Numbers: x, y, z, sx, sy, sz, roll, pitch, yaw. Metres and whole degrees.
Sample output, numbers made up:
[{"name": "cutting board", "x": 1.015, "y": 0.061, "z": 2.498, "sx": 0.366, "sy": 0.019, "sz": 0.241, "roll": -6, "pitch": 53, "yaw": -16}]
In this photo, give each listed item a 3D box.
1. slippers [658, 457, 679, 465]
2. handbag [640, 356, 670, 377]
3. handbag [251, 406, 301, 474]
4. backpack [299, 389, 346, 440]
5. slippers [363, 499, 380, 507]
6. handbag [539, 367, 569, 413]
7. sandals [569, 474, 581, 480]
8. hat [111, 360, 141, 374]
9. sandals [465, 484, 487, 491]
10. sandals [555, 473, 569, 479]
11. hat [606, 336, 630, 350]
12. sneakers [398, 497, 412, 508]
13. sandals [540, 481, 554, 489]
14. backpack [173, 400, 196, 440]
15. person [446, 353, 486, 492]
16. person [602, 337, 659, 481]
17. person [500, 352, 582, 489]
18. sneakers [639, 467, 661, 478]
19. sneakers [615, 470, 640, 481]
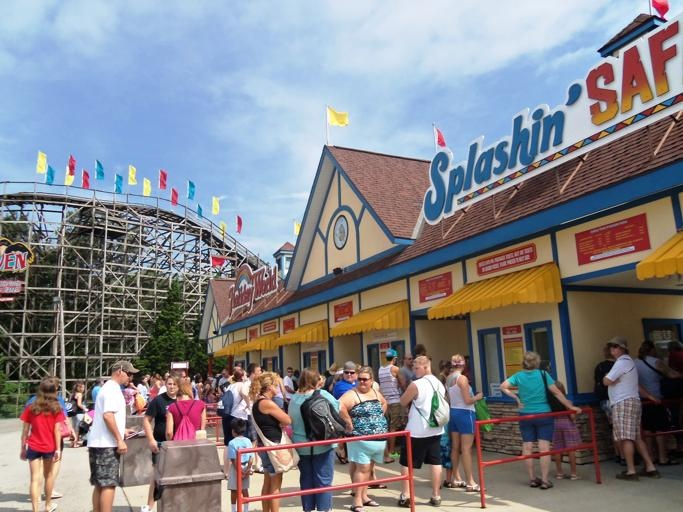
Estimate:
[{"name": "slippers", "x": 6.173, "y": 3.897, "z": 11.487, "sx": 0.412, "sy": 0.127, "sz": 0.148, "roll": 0, "pitch": -8, "yaw": -13}, {"name": "handbag", "x": 5.989, "y": 2.080, "z": 11.690, "sx": 0.353, "sy": 0.090, "sz": 0.331, "roll": 33, "pitch": 1, "yaw": -44}, {"name": "handbag", "x": -0.970, "y": 2.853, "z": 9.092, "sx": 0.630, "sy": 0.791, "sz": 0.634, "roll": -1, "pitch": -15, "yaw": -6}, {"name": "backpack", "x": -0.240, "y": 2.509, "z": 9.193, "sx": 0.481, "sy": 0.671, "sz": 0.365, "roll": -14, "pitch": -13, "yaw": -24}, {"name": "slippers", "x": 0.498, "y": 4.135, "z": 10.218, "sx": 0.112, "sy": 0.092, "sz": 0.307, "roll": 9, "pitch": -22, "yaw": -28}, {"name": "handbag", "x": 3.754, "y": 2.388, "z": 10.780, "sx": 0.361, "sy": 0.719, "sz": 0.249, "roll": -5, "pitch": -15, "yaw": 9}, {"name": "sandals", "x": 4.252, "y": 4.009, "z": 11.086, "sx": 0.208, "sy": 0.090, "sz": 0.075, "roll": 5, "pitch": -7, "yaw": -44}, {"name": "hat", "x": -3.541, "y": 1.827, "z": 10.004, "sx": 0.415, "sy": 0.225, "sz": 0.328, "roll": 3, "pitch": -6, "yaw": -22}, {"name": "sandals", "x": 2.334, "y": 4.107, "z": 10.790, "sx": 0.225, "sy": 0.122, "sz": 0.252, "roll": -8, "pitch": -17, "yaw": 19}, {"name": "sandals", "x": 4.050, "y": 4.044, "z": 11.205, "sx": 0.271, "sy": 0.111, "sz": 0.091, "roll": 2, "pitch": -5, "yaw": -30}, {"name": "hat", "x": 5.268, "y": 1.670, "z": 11.676, "sx": 0.409, "sy": 0.182, "sz": 0.362, "roll": 23, "pitch": -17, "yaw": -24}, {"name": "sneakers", "x": 1.029, "y": 4.111, "z": 10.129, "sx": 0.145, "sy": 0.176, "sz": 0.402, "roll": 10, "pitch": -29, "yaw": -21}, {"name": "sandals", "x": 3.595, "y": 4.011, "z": 10.694, "sx": 0.215, "sy": 0.141, "sz": 0.285, "roll": -8, "pitch": -16, "yaw": 17}, {"name": "backpack", "x": -2.601, "y": 2.796, "z": 10.167, "sx": 0.332, "sy": 0.687, "sz": 0.185, "roll": 18, "pitch": -42, "yaw": -38}, {"name": "person", "x": 2.186, "y": 3.000, "z": 10.965, "sx": 0.598, "sy": 2.344, "sz": 1.050, "roll": -3, "pitch": -15, "yaw": 1}, {"name": "person", "x": 5.077, "y": 2.697, "z": 10.829, "sx": 0.569, "sy": 2.426, "sz": 0.882, "roll": -10, "pitch": -17, "yaw": 28}, {"name": "person", "x": 3.470, "y": 2.931, "z": 10.918, "sx": 1.096, "sy": 2.323, "sz": 1.175, "roll": -4, "pitch": -15, "yaw": 7}, {"name": "sneakers", "x": 5.447, "y": 3.846, "z": 10.802, "sx": 0.363, "sy": 0.139, "sz": 0.140, "roll": -6, "pitch": -9, "yaw": 28}, {"name": "sneakers", "x": 5.050, "y": 3.874, "z": 10.770, "sx": 0.159, "sy": 0.158, "sz": 0.362, "roll": 3, "pitch": -4, "yaw": -38}]
